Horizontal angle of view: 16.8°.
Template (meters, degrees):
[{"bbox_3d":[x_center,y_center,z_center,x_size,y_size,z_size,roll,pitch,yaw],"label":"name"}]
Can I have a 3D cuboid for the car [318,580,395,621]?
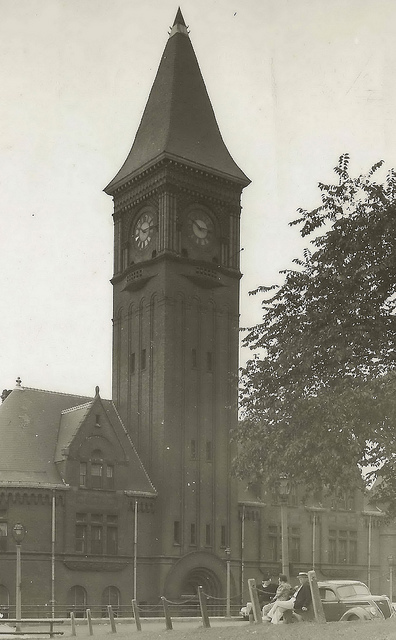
[{"bbox_3d":[5.233,9.273,44.680,2.111,1.099,1.314,-23,-26,34],"label":"car"}]

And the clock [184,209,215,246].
[{"bbox_3d":[0.072,-5.496,79.413,0.127,1.870,1.742,-16,3,40],"label":"clock"}]

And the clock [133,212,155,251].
[{"bbox_3d":[-3.037,-5.306,79.870,0.162,1.996,1.858,11,-22,-29],"label":"clock"}]
